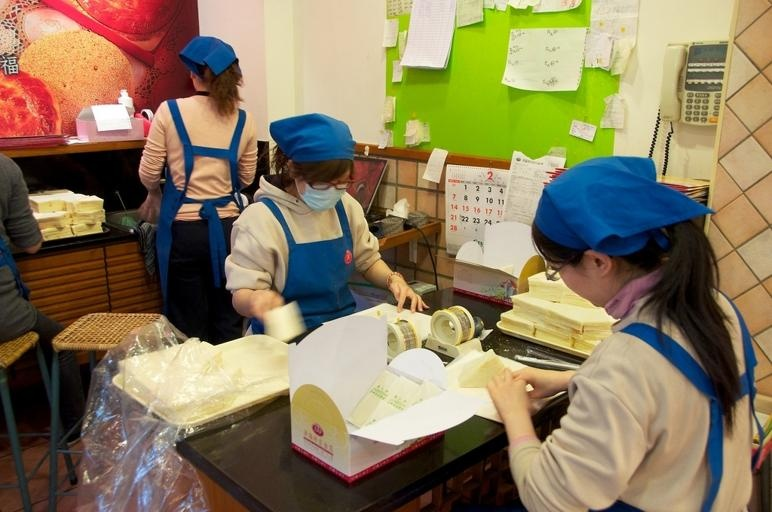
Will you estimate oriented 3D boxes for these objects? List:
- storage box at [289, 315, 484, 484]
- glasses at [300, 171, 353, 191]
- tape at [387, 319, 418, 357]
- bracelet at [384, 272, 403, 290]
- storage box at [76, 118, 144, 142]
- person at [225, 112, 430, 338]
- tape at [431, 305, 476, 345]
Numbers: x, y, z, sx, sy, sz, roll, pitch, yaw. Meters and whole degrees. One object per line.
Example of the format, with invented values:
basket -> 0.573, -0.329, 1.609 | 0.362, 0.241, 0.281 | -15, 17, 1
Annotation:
storage box -> -0.029, 0.428, 1.553 | 0.478, 0.334, 0.478 | 21, 31, 37
glasses -> -0.257, -0.306, 2.201 | 0.227, 0.096, 0.094 | 3, 22, -5
tape -> 0.062, 0.313, 2.046 | 0.100, 0.143, 0.127 | -16, 14, -41
bracelet -> 0.032, 0.122, 2.576 | 0.065, 0.079, 0.034 | -11, 53, -30
storage box -> -1.897, -0.883, 3.686 | 0.431, 0.151, 0.261 | -6, 25, -26
person -> -0.298, 0.018, 2.382 | 0.825, 1.259, 0.650 | -11, 20, -39
tape -> 0.270, 0.292, 2.188 | 0.099, 0.167, 0.173 | -12, 10, -38
